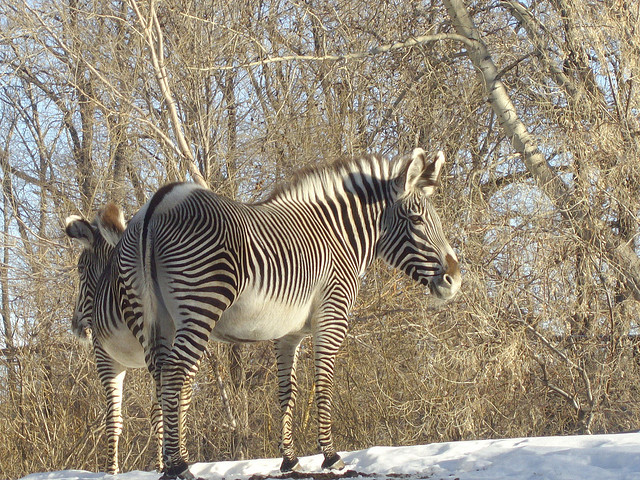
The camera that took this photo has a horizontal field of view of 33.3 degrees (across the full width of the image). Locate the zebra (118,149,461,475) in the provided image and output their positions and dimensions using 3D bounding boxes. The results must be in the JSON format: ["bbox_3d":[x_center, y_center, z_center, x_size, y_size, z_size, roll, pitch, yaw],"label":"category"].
[{"bbox_3d":[-0.242,1.031,16.460,4.308,4.472,1.542,6,-13,-29],"label":"zebra"}]
